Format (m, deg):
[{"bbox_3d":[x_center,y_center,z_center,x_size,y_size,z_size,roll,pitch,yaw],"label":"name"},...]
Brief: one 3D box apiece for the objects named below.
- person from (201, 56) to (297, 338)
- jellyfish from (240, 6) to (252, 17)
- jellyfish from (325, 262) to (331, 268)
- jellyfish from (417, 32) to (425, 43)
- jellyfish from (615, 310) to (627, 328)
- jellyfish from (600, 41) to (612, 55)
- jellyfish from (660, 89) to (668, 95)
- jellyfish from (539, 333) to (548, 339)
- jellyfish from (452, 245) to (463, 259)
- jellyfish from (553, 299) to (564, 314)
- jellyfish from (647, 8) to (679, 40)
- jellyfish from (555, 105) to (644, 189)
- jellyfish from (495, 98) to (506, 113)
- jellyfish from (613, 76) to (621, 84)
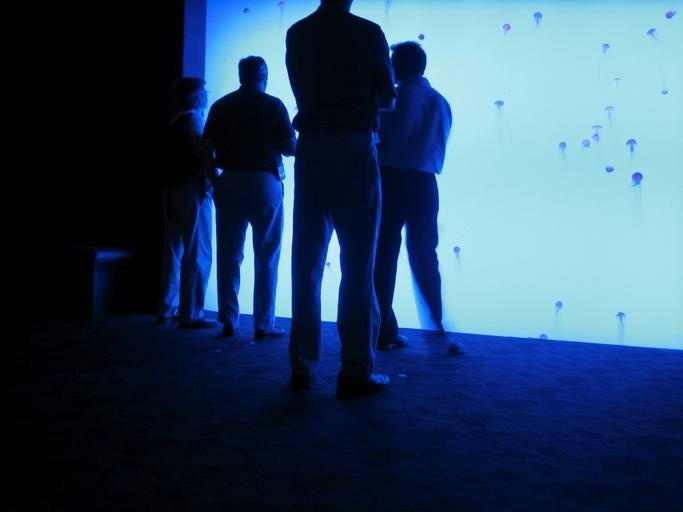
[{"bbox_3d":[-0.620,-0.381,4.433,0.618,1.861,0.406,0,10,-6],"label":"person"},{"bbox_3d":[-0.745,-1.916,5.172,0.074,0.083,0.009,-1,7,12],"label":"jellyfish"},{"bbox_3d":[-0.100,0.068,4.943,0.049,0.059,0.030,-1,-12,2],"label":"jellyfish"},{"bbox_3d":[0.574,-1.577,4.760,0.055,0.061,0.014,-10,1,32],"label":"jellyfish"},{"bbox_3d":[1.845,0.421,4.363,0.052,0.101,0.037,-2,4,25],"label":"jellyfish"},{"bbox_3d":[1.753,-1.381,4.384,0.048,0.077,0.029,3,27,12],"label":"jellyfish"},{"bbox_3d":[2.104,-1.069,4.305,0.033,0.036,0.009,15,10,29],"label":"jellyfish"},{"bbox_3d":[1.380,0.550,4.519,0.034,0.030,0.036,-6,9,-20],"label":"jellyfish"},{"bbox_3d":[0.810,-0.029,4.628,0.035,0.085,0.032,-3,-25,7],"label":"jellyfish"},{"bbox_3d":[1.465,0.341,4.464,0.047,0.094,0.035,6,10,27],"label":"jellyfish"},{"bbox_3d":[2.087,-1.522,4.302,0.118,0.230,0.059,35,14,5],"label":"jellyfish"},{"bbox_3d":[1.728,-0.738,4.397,0.547,0.518,0.083,5,11,16],"label":"jellyfish"},{"bbox_3d":[1.090,-1.041,4.560,0.073,0.077,0.021,7,12,26],"label":"jellyfish"},{"bbox_3d":[1.822,-1.165,4.367,0.042,0.053,0.008,0,-23,13],"label":"jellyfish"}]
